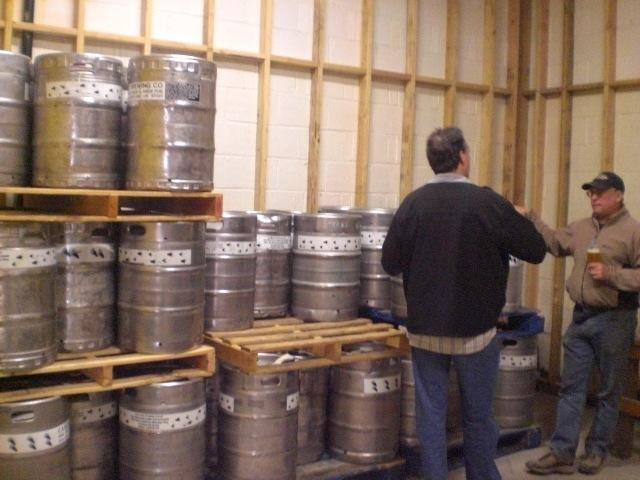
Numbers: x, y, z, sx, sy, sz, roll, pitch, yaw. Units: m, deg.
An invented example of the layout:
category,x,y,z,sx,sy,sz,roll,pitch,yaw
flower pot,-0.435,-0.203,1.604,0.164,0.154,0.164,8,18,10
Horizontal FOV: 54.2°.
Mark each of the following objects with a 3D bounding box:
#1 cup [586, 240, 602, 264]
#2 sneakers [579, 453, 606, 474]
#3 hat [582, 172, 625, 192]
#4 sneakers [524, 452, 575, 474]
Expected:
category,x,y,z,sx,sy,sz,roll,pitch,yaw
cup,1.921,0.096,4.381,0.106,0.151,0.358,2,5,24
sneakers,2.024,1.657,4.642,0.101,0.105,0.247,-11,-16,42
hat,2.056,-0.412,4.548,0.262,0.138,0.164,10,3,-4
sneakers,1.654,1.630,4.542,0.337,0.154,0.147,4,-4,-2
